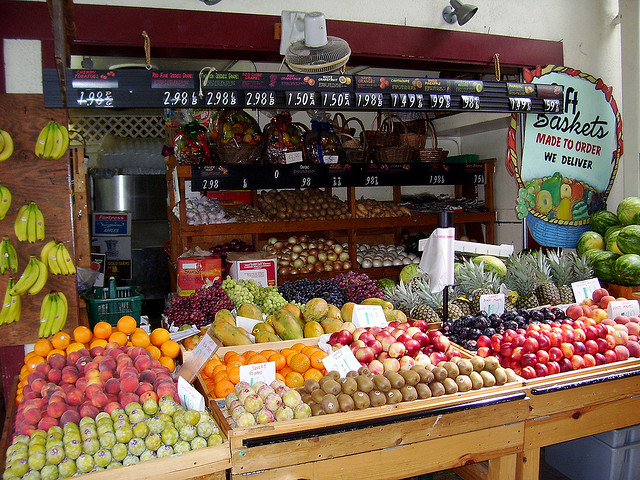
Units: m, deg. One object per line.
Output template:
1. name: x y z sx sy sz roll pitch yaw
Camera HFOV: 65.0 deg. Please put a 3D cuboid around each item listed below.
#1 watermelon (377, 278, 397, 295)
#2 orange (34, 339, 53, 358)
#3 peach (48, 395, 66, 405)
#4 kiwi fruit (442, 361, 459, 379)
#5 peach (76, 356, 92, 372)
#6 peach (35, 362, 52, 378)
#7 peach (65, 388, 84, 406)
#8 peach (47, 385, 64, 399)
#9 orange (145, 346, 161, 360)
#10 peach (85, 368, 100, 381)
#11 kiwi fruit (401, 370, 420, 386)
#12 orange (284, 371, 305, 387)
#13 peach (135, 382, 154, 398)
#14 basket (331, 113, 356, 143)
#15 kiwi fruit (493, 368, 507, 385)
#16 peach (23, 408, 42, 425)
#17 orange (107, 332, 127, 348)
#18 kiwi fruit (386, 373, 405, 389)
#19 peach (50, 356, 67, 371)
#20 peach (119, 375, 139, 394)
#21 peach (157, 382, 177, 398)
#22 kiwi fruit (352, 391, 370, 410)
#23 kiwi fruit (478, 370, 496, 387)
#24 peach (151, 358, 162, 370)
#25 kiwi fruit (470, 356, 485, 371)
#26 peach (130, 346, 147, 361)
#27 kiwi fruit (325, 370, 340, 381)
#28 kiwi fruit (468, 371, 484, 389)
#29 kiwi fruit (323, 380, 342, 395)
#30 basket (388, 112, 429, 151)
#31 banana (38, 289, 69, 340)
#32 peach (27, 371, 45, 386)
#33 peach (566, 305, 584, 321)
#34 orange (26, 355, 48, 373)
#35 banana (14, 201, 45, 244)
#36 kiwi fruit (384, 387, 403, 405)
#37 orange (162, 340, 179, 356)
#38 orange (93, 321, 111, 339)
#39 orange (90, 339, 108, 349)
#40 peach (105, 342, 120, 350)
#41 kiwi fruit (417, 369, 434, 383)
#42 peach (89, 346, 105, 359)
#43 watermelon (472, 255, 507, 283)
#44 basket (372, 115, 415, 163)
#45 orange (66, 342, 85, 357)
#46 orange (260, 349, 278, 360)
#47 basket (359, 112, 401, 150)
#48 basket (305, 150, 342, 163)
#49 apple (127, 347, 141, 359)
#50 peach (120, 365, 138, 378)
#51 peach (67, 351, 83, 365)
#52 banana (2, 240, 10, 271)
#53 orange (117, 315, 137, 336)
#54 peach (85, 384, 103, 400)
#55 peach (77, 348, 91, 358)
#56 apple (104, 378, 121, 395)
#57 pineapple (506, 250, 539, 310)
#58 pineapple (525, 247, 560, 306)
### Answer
1. watermelon: 0.626 0.419 4.692 0.123 0.098 0.104 36 18 26
2. orange: -1.658 0.624 3.007 0.102 0.105 0.098 2 -39 -32
3. peach: -1.318 0.791 2.513 0.048 0.054 0.048 20 -36 4
4. kiwi fruit: 0.738 0.723 2.793 0.059 0.065 0.084 -2 7 -1
5. peach: -1.307 0.685 2.788 0.064 0.067 0.077 -2 -5 -3
6. peach: -1.544 0.713 2.805 0.075 0.079 0.073 28 11 37
7. peach: -1.247 0.783 2.540 0.074 0.080 0.074 -2 0 3
8. peach: -1.370 0.778 2.584 0.052 0.055 0.052 -1 -4 -25
9. orange: -0.994 0.668 2.992 0.072 0.089 0.072 3 -11 -36
10. peach: -1.210 0.705 2.665 0.050 0.054 0.065 17 37 28
11. kiwi fruit: 0.499 0.736 2.734 0.078 0.061 0.062 3 42 37
12. orange: -0.139 0.761 2.756 0.076 0.077 0.078 0 -16 -4
13. peach: -0.912 0.768 2.592 0.058 0.062 0.056 -1 2 -16
14. basket: 0.294 -1.349 5.992 0.359 0.383 0.278 -9 5 -19
15. kiwi fruit: 1.051 0.782 2.900 0.088 0.088 0.037 -6 6 -23
16. peach: -1.414 0.861 2.468 0.067 0.074 0.071 7 9 -42
17. orange: -1.202 0.593 2.991 0.083 0.095 0.084 3 -15 -17
18. kiwi fruit: 0.413 0.749 2.686 0.060 0.064 0.079 5 12 -44
19. peach: -1.462 0.684 2.805 0.065 0.070 0.065 2 1 11
20. peach: -0.986 0.740 2.591 0.094 0.079 0.067 -6 7 -25
21. peach: -0.799 0.777 2.612 0.094 0.054 0.103 -5 7 -11
22. kiwi fruit: 0.212 0.821 2.614 0.066 0.067 0.089 19 11 -17
23. kiwi fruit: 0.952 0.781 2.865 0.063 0.066 0.087 -19 31 -25
24. peach: -0.921 0.692 2.821 0.047 0.049 0.056 7 19 -35
25. kiwi fruit: 0.916 0.708 2.890 0.054 0.059 0.076 -3 0 4
26. peach: -1.030 0.636 2.852 0.058 0.067 0.065 1 6 26
27. kiwi fruit: 0.075 0.720 2.702 0.079 0.026 0.073 2 9 43
28. kiwi fruit: 0.882 0.776 2.834 0.063 0.067 0.087 5 23 -36
29. kiwi fruit: 0.065 0.760 2.597 0.075 0.060 0.060 9 -33 36
30. basket: 1.113 -1.249 6.167 0.467 0.548 0.526 1 -5 -9
31. banana: -2.002 0.556 3.748 0.170 0.363 0.119 3 -30 -13
32. peach: -1.559 0.752 2.769 0.074 0.079 0.072 1 1 -1
33. peach: 1.776 0.500 3.482 0.085 0.091 0.090 33 13 31
34. orange: -1.663 0.708 2.921 0.097 0.110 0.103 5 -2 -2
35. banana: -2.113 -0.125 3.662 0.183 0.291 0.117 4 -6 -27
36. kiwi fruit: 0.399 0.824 2.697 0.060 0.063 0.081 26 2 -14
37. orange: -0.903 0.657 3.071 0.075 0.080 0.093 -11 10 39
38. orange: -1.317 0.547 3.088 0.092 0.116 0.096 -8 -4 10
39. orange: -1.318 0.611 2.966 0.066 0.059 0.057 -20 -22 22
40. peach: -1.201 0.595 2.898 0.053 0.057 0.056 -6 17 5
41. kiwi fruit: 0.581 0.734 2.745 0.094 0.052 0.047 15 -15 27
42. peach: -1.297 0.643 2.911 0.070 0.074 0.068 -5 -41 2
43. watermelon: 1.419 0.244 4.173 0.243 0.153 0.163 29 -20 27
44. basket: 0.885 -1.189 5.856 0.398 0.588 0.518 1 8 38
45. orange: -1.428 0.623 2.940 0.071 0.075 0.074 19 39 6
46. orange: -0.298 0.662 2.926 0.045 0.045 0.046 1 2 36
47. basket: 0.724 -1.209 5.898 0.437 0.441 0.445 2 2 -21
48. basket: 0.066 -0.910 5.447 0.423 0.129 0.163 -7 7 -23
49. apple: -1.055 0.638 2.846 0.049 0.037 0.063 -1 0 -11
50. peach: -1.024 0.696 2.682 0.047 0.052 0.050 0 3 -37
51. peach: -1.386 0.660 2.853 0.057 0.059 0.071 14 46 7
52. banana: -2.270 0.121 3.614 0.044 0.177 0.061 -12 -12 30
53. orange: -1.190 0.524 3.091 0.107 0.137 0.114 2 12 -7
54. peach: -1.149 0.765 2.571 0.072 0.077 0.070 -3 4 -3
55. peach: -1.365 0.644 2.894 0.047 0.049 0.052 -14 51 -35
56. apple: -1.067 0.752 2.587 0.072 0.089 0.072 10 8 34
57. pineapple: 1.559 0.285 3.801 0.177 0.441 0.261 -2 11 -13
58. pineapple: 1.738 0.318 3.879 0.168 0.424 0.168 -17 -12 10
